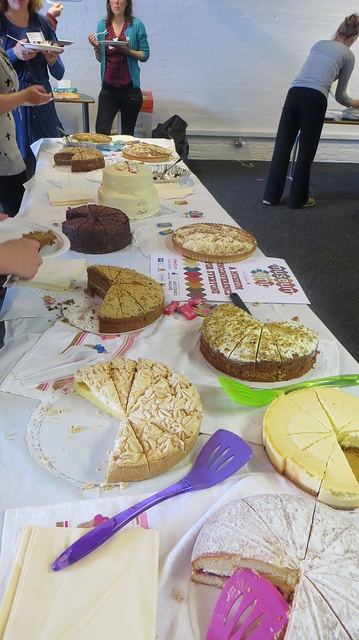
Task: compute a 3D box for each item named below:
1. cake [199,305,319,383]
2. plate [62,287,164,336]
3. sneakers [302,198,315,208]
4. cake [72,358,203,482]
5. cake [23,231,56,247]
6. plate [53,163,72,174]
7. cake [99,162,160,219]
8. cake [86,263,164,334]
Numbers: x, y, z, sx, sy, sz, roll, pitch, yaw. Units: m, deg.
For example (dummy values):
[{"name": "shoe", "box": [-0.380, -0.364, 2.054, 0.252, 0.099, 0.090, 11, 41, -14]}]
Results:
[{"name": "cake", "box": [0.214, 0.066, 1.229, 0.325, 0.121, 0.375, 8, 16, 10]}, {"name": "plate", "box": [-0.182, -0.022, 1.291, 0.185, 0.048, 0.185, -24, 45, -36]}, {"name": "sneakers", "box": [1.466, -1.332, 5.051, 0.095, 0.067, 0.173, 3, 32, 12]}, {"name": "cake", "box": [-0.084, 0.201, 0.962, 0.229, 0.081, 0.350, -2, 29, -20]}, {"name": "cake", "box": [-0.454, -0.269, 1.460, 0.100, 0.038, 0.072, -20, 38, -41]}, {"name": "plate", "box": [-0.701, -0.923, 2.723, 0.099, 0.008, 0.096, 36, 51, 28]}, {"name": "cake", "box": [-0.223, -0.568, 1.990, 0.248, 0.194, 0.268, -3, 39, -5]}, {"name": "cake", "box": [-0.160, -0.052, 1.302, 0.187, 0.083, 0.266, -4, 35, -24]}]
